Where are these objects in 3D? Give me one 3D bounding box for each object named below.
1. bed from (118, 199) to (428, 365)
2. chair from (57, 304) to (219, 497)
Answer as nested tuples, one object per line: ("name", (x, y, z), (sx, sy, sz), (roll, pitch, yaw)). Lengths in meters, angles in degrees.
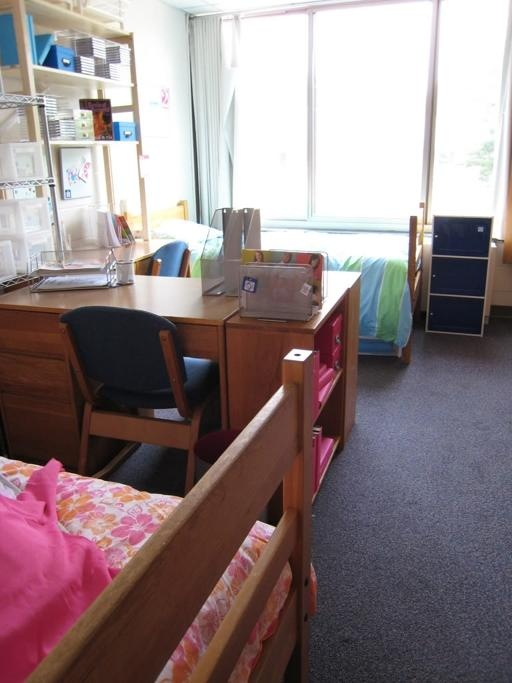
("bed", (0.524, -0.394, 3.644), (1.238, 0.834, 1.339), (3, 21, 13))
("chair", (-0.381, 0.099, 1.817), (0.447, 0.772, 0.622), (3, 19, 12))
